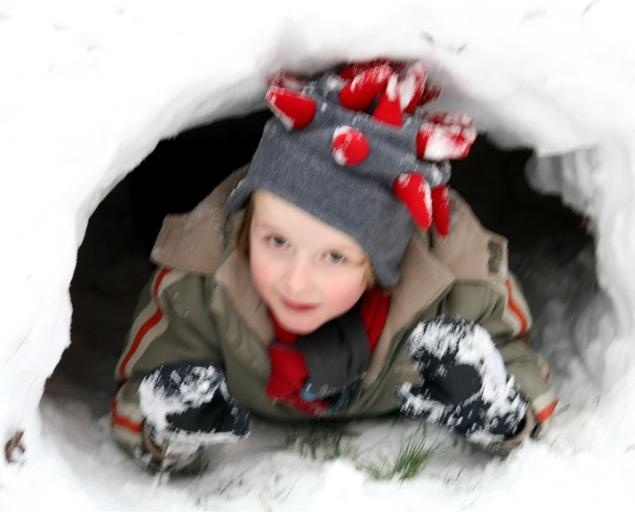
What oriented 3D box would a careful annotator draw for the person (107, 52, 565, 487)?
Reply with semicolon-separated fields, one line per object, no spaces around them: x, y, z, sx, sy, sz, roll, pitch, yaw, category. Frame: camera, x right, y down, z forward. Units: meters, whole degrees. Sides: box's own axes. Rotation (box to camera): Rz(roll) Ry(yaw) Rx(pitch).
-0.003;0.028;1.742;1.167;1.222;0.819;3;28;0;person

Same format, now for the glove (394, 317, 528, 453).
0.407;0.372;1.590;0.274;0.386;0.155;-30;14;31;glove

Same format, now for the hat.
0.076;-0.268;1.593;0.541;0.540;0.575;24;12;-7;hat
